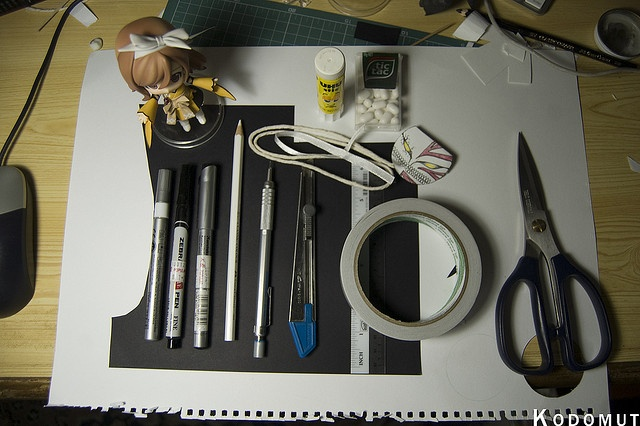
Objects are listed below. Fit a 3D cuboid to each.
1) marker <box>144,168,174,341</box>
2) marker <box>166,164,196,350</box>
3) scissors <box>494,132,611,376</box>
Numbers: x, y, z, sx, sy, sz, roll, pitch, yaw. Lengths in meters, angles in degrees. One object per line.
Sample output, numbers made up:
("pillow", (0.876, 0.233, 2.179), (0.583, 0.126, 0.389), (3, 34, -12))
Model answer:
("marker", (-0.411, 0.109, 1.473), (0.053, 0.051, 0.452), (3, 83, 18))
("marker", (-0.363, 0.115, 1.437), (0.056, 0.054, 0.465), (4, 82, 16))
("scissors", (0.569, 0.112, 1.453), (0.244, 0.324, 0.527), (0, 92, 9))
